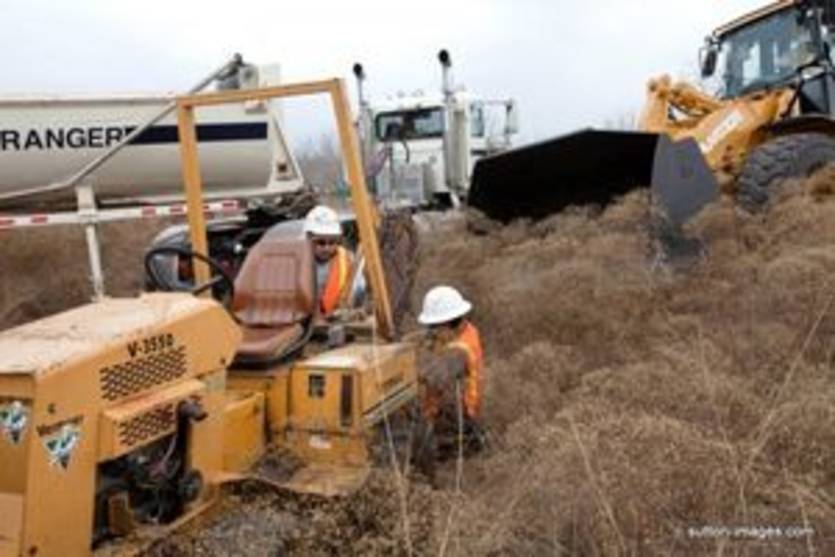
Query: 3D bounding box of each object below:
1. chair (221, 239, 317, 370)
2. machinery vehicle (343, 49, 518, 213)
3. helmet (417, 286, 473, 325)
[{"bbox_3d":[-1.083,0.130,4.051,0.613,0.802,0.899,-1,-2,6],"label":"chair"},{"bbox_3d":[-0.042,-2.589,11.330,2.704,2.519,3.938,2,15,20],"label":"machinery vehicle"},{"bbox_3d":[0.222,0.275,4.829,0.342,0.194,0.322,-18,10,35],"label":"helmet"}]
